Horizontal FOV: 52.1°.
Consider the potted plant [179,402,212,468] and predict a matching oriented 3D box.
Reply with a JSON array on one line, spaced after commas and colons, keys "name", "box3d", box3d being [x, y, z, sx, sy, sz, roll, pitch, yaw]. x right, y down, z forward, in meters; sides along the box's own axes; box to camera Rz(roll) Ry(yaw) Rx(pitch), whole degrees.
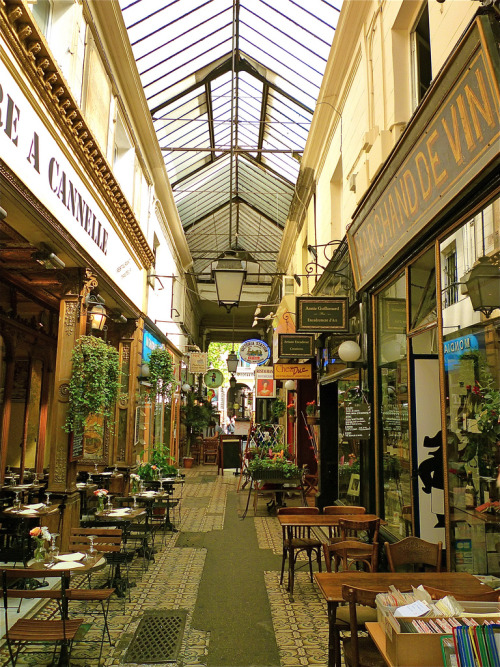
[{"name": "potted plant", "box3d": [-2.264, 3.911, 21.231, 1.211, 2.542, 1.532, 1, -11, 2]}]

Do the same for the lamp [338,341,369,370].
[{"name": "lamp", "box3d": [1.290, 0.274, 6.486, 0.303, 0.366, 0.460, 1, -12, 6]}]

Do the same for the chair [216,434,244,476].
[{"name": "chair", "box3d": [-0.718, 4.074, 17.246, 0.736, 1.285, 1.102, 3, -12, -4]}]

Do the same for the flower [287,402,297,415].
[{"name": "flower", "box3d": [1.162, 2.136, 14.455, 0.360, 0.403, 0.377, -1, -1, 6]}]
